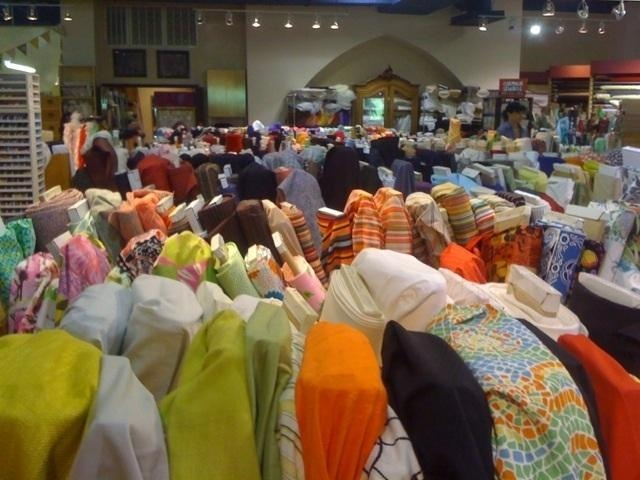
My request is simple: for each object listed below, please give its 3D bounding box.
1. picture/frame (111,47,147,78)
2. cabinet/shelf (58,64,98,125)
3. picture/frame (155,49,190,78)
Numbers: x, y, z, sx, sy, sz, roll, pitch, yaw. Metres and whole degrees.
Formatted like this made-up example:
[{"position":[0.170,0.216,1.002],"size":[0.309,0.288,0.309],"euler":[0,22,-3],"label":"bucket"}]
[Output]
[{"position":[-4.291,-4.028,9.843],"size":[0.535,0.568,0.084],"euler":[-1,7,-8],"label":"picture/frame"},{"position":[-5.135,-3.002,9.258],"size":[0.557,1.327,0.363],"euler":[-7,21,-36],"label":"cabinet/shelf"},{"position":[-3.364,-4.041,9.951],"size":[0.556,0.572,0.088],"euler":[-1,18,-9],"label":"picture/frame"}]
